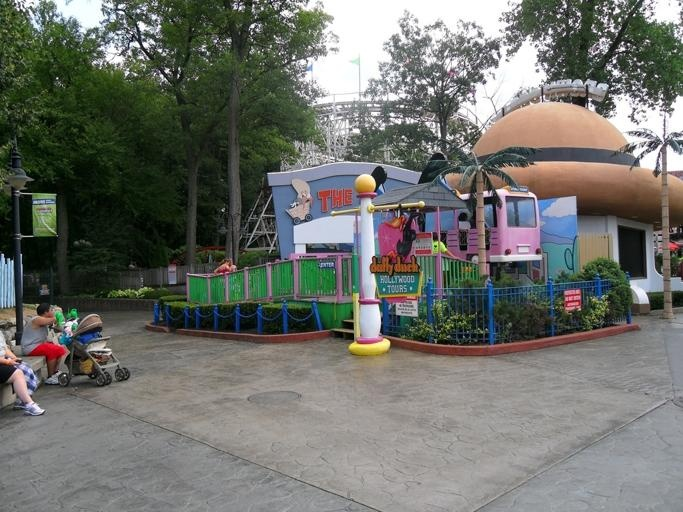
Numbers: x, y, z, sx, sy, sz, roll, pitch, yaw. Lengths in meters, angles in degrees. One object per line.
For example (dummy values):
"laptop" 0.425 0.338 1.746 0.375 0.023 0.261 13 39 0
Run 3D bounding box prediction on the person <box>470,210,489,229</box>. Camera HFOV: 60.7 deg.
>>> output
"person" 4.398 -1.162 18.913 0.855 0.535 0.766 2 7 36

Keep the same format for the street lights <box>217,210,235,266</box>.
"street lights" -6.382 -1.139 32.683 0.927 3.026 0.620 1 10 -10

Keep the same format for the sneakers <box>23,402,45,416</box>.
"sneakers" -5.410 2.697 10.362 0.395 0.214 0.193 4 2 7

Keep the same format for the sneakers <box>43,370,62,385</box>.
"sneakers" -6.099 2.596 12.513 0.561 0.260 0.232 -9 -9 33

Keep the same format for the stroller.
"stroller" -5.308 1.969 12.440 1.162 1.435 0.853 -4 -2 14
